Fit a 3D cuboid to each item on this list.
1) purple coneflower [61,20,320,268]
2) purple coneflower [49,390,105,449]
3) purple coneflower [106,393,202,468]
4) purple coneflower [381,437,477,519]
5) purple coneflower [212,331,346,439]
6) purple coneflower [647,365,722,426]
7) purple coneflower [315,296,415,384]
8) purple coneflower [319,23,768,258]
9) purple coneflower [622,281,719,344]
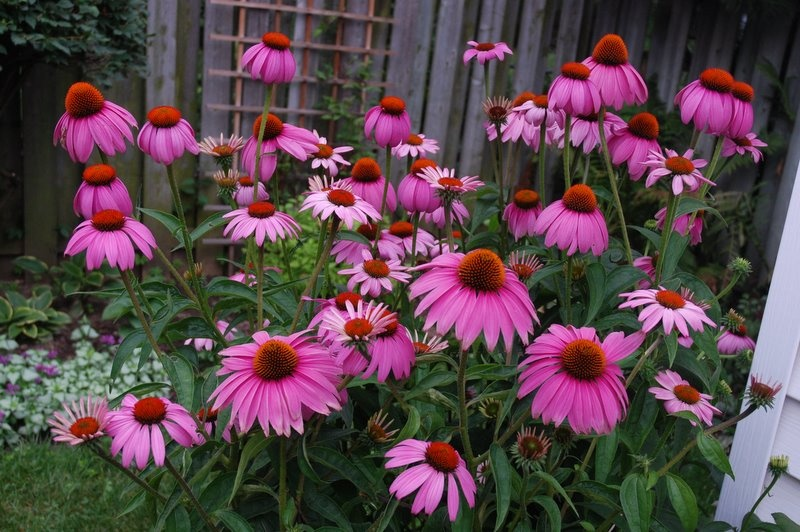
[{"bbox_3d":[-0.847,-0.462,2.788,0.866,0.957,0.970,15,23,14],"label":"purple coneflower"},{"bbox_3d":[-1.121,0.560,2.485,0.205,0.104,0.232,6,25,-9],"label":"purple coneflower"},{"bbox_3d":[-0.932,0.627,2.645,0.326,0.278,0.289,5,15,-9],"label":"purple coneflower"},{"bbox_3d":[0.138,0.751,2.531,0.335,0.180,0.375,0,15,0],"label":"purple coneflower"},{"bbox_3d":[-0.412,0.393,2.376,0.417,0.300,0.217,6,15,-6],"label":"purple coneflower"},{"bbox_3d":[1.115,0.511,2.717,0.297,0.162,0.199,11,16,12],"label":"purple coneflower"},{"bbox_3d":[-0.133,0.307,2.513,0.279,0.135,0.315,20,39,-18],"label":"purple coneflower"},{"bbox_3d":[0.812,-0.522,2.969,1.173,0.885,0.604,17,18,31],"label":"purple coneflower"},{"bbox_3d":[0.987,0.158,2.566,0.270,0.095,0.313,-6,37,-24],"label":"purple coneflower"}]
